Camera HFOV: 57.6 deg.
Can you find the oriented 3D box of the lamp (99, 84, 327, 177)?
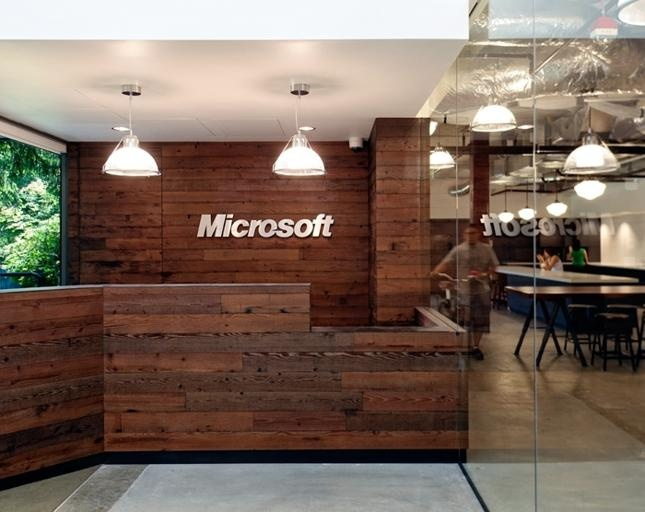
[{"bbox_3d":[-0.996,-1.140,5.484,1.848,0.835,1.671,-2,13,-6],"label":"lamp"}]
